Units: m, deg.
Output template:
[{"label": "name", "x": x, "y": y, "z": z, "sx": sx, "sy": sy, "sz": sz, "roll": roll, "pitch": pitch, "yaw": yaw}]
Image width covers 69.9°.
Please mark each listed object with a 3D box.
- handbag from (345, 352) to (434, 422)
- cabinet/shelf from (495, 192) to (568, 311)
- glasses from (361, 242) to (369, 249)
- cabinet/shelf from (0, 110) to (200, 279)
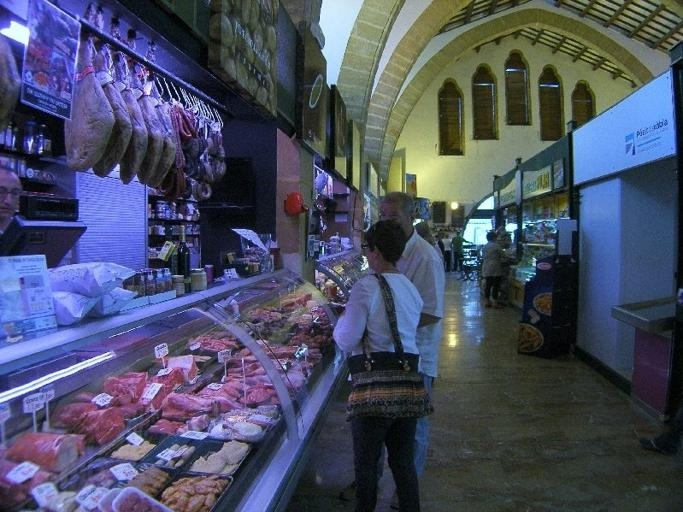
[{"label": "handbag", "x": 0.249, "y": 0.662, "z": 2.512, "sx": 0.464, "sy": 0.448, "sz": 0.192, "roll": -1, "pitch": -1, "yaw": -1}, {"label": "cabinet/shelf", "x": 2.949, "y": -0.056, "z": 7.584, "sx": 0.667, "sy": 2.023, "sz": 2.099, "roll": 2, "pitch": -2, "yaw": 3}, {"label": "glasses", "x": 0.135, "y": -0.059, "z": 2.749, "sx": 0.067, "sy": 0.040, "sz": 0.070, "roll": -1, "pitch": 2, "yaw": 3}, {"label": "cabinet/shelf", "x": -1.782, "y": -0.469, "z": 3.521, "sx": 0.495, "sy": 1.423, "sz": 1.476, "roll": 0, "pitch": -3, "yaw": 17}]
